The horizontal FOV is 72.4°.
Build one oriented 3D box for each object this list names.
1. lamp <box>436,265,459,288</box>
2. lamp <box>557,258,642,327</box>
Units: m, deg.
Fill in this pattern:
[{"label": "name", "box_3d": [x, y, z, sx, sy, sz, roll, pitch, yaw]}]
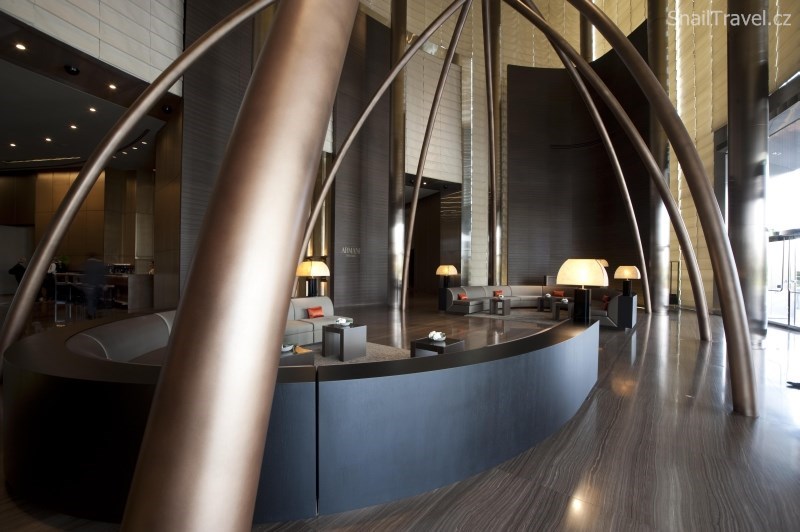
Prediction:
[{"label": "lamp", "box_3d": [1.399, 0.230, 14.722, 0.736, 0.781, 0.758, 3, -3, -2]}, {"label": "lamp", "box_3d": [4.219, 0.623, 11.487, 0.985, 1.377, 1.480, 5, -7, -43]}]
